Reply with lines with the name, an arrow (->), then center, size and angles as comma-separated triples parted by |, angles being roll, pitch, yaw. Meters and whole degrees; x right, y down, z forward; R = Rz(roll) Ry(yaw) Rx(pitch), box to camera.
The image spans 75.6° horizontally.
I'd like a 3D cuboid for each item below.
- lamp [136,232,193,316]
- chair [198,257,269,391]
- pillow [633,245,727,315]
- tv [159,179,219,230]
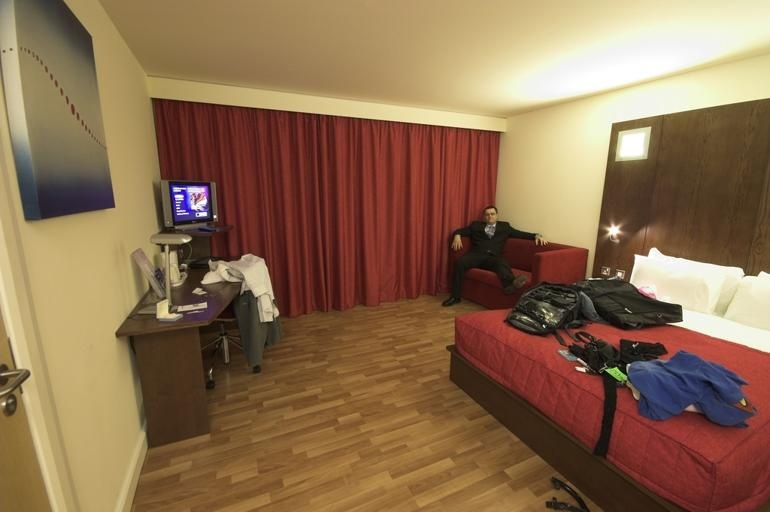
lamp -> -1.989, 0.163, 4.382 | 0.425, 1.040, 0.540 | -1, 12, -13
chair -> -1.434, 0.640, 4.674 | 0.525, 0.714, 1.056 | -2, 21, -6
pillow -> 2.882, 0.245, 4.770 | 0.604, 0.409, 0.214 | 12, -24, 51
tv -> -2.058, -0.530, 5.100 | 0.106, 0.382, 0.533 | 10, 13, 27
